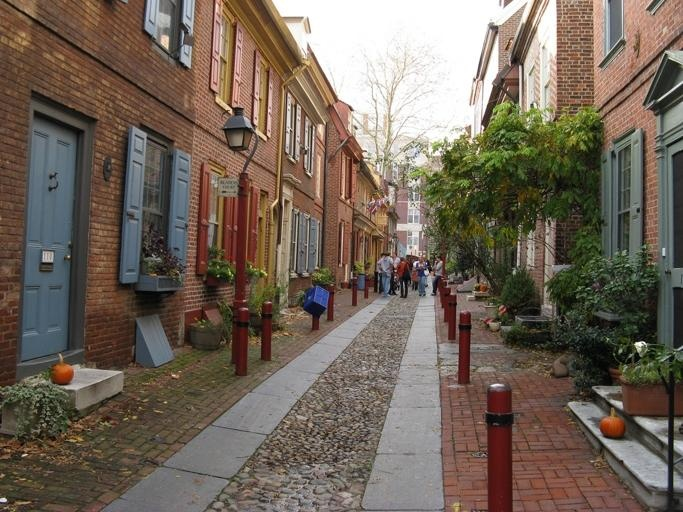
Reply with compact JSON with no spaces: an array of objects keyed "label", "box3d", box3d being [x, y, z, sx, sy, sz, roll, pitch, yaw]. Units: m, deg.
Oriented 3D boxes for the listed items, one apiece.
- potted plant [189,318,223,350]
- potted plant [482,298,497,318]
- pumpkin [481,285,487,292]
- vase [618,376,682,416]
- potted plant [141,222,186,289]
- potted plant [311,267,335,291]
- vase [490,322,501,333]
[{"label":"potted plant","box3d":[-2.466,1.406,10.294,0.478,0.343,0.503,9,-7,-28]},{"label":"potted plant","box3d":[4.229,1.460,16.032,0.394,0.256,0.669,0,2,7]},{"label":"pumpkin","box3d":[6.000,1.372,23.878,0.285,0.277,0.266,-12,-36,33]},{"label":"vase","box3d":[3.198,1.438,5.827,0.461,0.241,0.338,1,-5,7]},{"label":"potted plant","box3d":[-2.992,-0.040,9.358,0.775,1.111,1.084,-1,-1,22]},{"label":"potted plant","box3d":[-0.680,0.719,19.736,0.736,0.797,0.776,16,-15,3]},{"label":"vase","box3d":[3.674,1.688,13.644,0.266,0.216,0.214,2,3,26]}]
